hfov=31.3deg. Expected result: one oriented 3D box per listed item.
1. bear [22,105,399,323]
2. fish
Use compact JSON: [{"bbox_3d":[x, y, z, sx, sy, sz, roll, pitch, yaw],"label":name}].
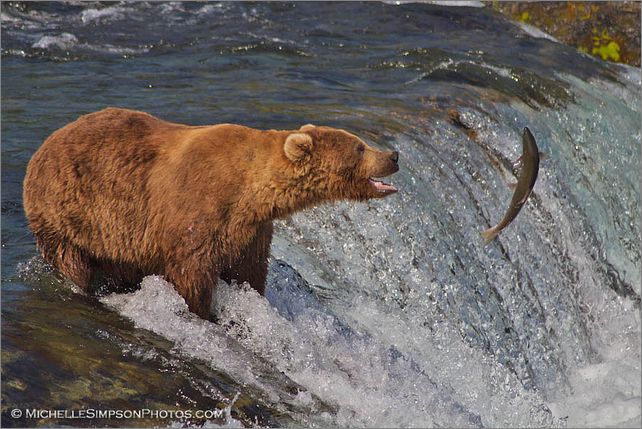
[{"bbox_3d":[-1.734,-0.382,15.672,5.803,2.743,2.158,9,25,7],"label":"bear"},{"bbox_3d":[2.386,-0.276,14.588,0.801,1.610,0.703,6,32,11],"label":"fish"}]
